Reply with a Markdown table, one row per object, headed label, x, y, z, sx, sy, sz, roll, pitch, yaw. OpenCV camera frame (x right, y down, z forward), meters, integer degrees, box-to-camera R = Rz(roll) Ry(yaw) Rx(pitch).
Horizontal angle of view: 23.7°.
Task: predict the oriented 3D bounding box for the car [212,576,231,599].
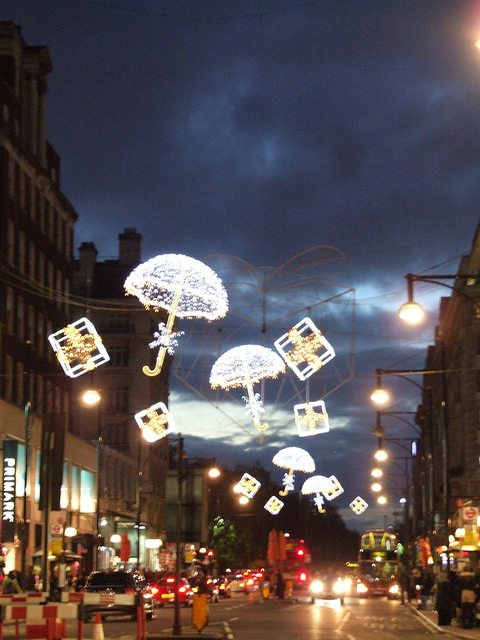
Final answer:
| label | x | y | z | sx | sy | sz | roll | pitch | yaw |
| --- | --- | --- | --- | --- | --- | --- | --- | --- | --- |
| car | -1.284 | 17.423 | 74.713 | 1.304 | 0.807 | 2.654 | 1 | 1 | 4 |

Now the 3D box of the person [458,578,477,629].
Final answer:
| label | x | y | z | sx | sy | sz | roll | pitch | yaw |
| --- | --- | --- | --- | --- | --- | --- | --- | --- | --- |
| person | 7.080 | 8.927 | 35.725 | 0.615 | 1.456 | 2.011 | -3 | -18 | 9 |

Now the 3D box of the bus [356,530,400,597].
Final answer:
| label | x | y | z | sx | sy | sz | roll | pitch | yaw |
| --- | --- | --- | --- | --- | --- | --- | --- | --- | --- |
| bus | 8.869 | 15.637 | 73.818 | 2.606 | 4.201 | 2.407 | 3 | -19 | -10 |

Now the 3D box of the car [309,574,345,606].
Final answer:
| label | x | y | z | sx | sy | sz | roll | pitch | yaw |
| --- | --- | --- | --- | --- | --- | --- | --- | --- | --- |
| car | 4.776 | 15.142 | 64.488 | 1.617 | 1.112 | 2.524 | 0 | -17 | 3 |

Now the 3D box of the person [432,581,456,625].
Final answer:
| label | x | y | z | sx | sy | sz | roll | pitch | yaw |
| --- | --- | --- | --- | --- | --- | --- | --- | --- | --- |
| person | 6.656 | 9.209 | 37.105 | 0.587 | 1.344 | 2.146 | -3 | -17 | 9 |

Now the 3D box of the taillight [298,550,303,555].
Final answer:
| label | x | y | z | sx | sy | sz | roll | pitch | yaw |
| --- | --- | --- | --- | --- | --- | --- | --- | --- | --- |
| taillight | 4.368 | 17.119 | 84.122 | 0.323 | 0.300 | 0.365 | 0 | -17 | 1 |
